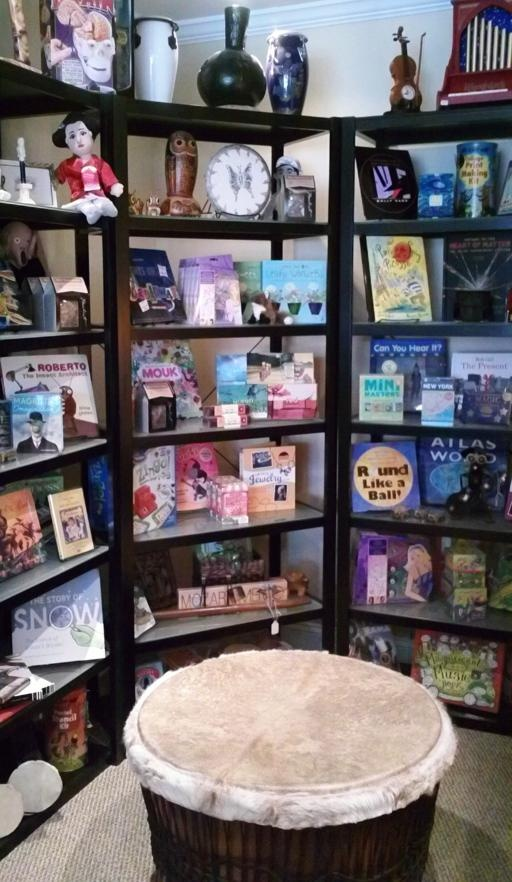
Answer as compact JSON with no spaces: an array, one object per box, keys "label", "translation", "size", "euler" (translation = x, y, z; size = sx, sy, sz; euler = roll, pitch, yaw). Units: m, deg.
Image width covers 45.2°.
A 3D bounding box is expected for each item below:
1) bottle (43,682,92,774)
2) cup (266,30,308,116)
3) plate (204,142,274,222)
[{"label":"bottle","translation":[-0.532,0.829,1.799],"size":[0.100,0.263,0.160],"euler":[1,3,35]},{"label":"cup","translation":[0.102,-1.194,1.982],"size":[0.137,0.255,0.152],"euler":[-19,50,-13]},{"label":"plate","translation":[-0.053,-0.791,1.948],"size":[0.202,0.236,0.051],"euler":[-9,9,-25]}]
